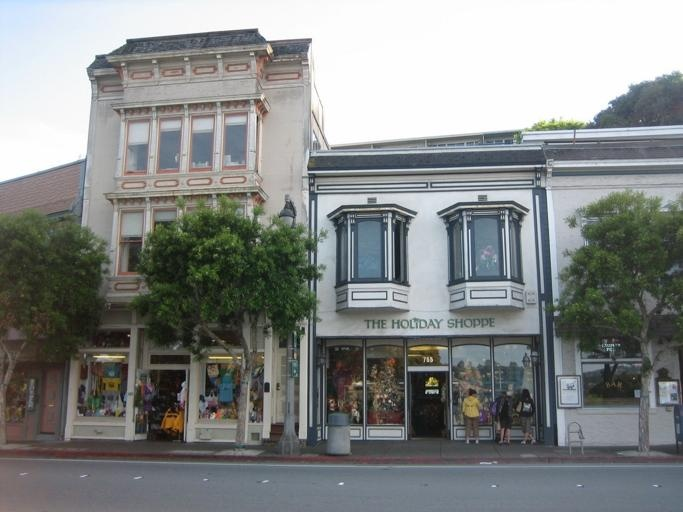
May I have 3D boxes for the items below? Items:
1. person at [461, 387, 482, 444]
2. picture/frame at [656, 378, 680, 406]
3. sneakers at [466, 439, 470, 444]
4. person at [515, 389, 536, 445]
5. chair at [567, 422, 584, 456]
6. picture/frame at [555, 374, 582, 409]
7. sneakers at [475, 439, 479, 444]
[{"bbox_3d":[5.164,6.301,25.184,0.739,2.131,1.191,-3,-15,11],"label":"person"},{"bbox_3d":[12.571,5.303,24.542,0.873,1.091,0.109,0,-8,0],"label":"picture/frame"},{"bbox_3d":[4.920,7.207,24.763,0.100,0.128,0.293,0,-3,3],"label":"sneakers"},{"bbox_3d":[7.243,6.293,24.959,0.714,2.045,1.365,-5,-15,16],"label":"person"},{"bbox_3d":[8.633,6.650,23.457,0.657,1.130,2.347,-6,-16,19],"label":"chair"},{"bbox_3d":[8.771,5.276,24.570,1.183,1.652,0.066,0,-10,2],"label":"picture/frame"},{"bbox_3d":[5.271,7.244,24.777,0.135,0.260,0.262,5,-16,-9],"label":"sneakers"}]
